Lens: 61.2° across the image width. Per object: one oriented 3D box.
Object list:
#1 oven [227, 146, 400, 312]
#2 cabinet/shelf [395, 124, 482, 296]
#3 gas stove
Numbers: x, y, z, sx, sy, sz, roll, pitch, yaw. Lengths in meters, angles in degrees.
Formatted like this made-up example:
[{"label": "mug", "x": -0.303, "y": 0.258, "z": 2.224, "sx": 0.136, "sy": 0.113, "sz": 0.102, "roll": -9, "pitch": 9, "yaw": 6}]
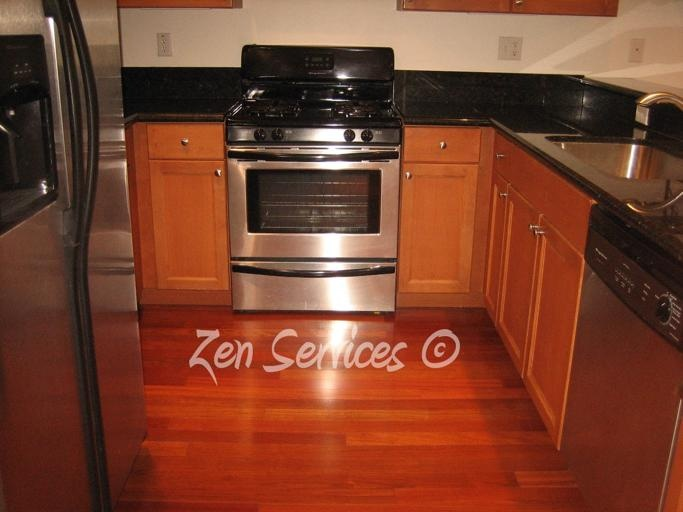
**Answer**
[{"label": "oven", "x": -0.132, "y": -0.184, "z": 3.404, "sx": 1.048, "sy": 1.054, "sz": 0.741, "roll": 0, "pitch": 15, "yaw": 1}, {"label": "cabinet/shelf", "x": 0.515, "y": -0.228, "z": 3.043, "sx": 0.385, "sy": 0.875, "sz": 0.102, "roll": 3, "pitch": 19, "yaw": 8}, {"label": "gas stove", "x": -0.135, "y": -0.781, "z": 3.142, "sx": 0.894, "sy": 0.282, "sz": 0.604, "roll": 0, "pitch": 19, "yaw": 0}]
